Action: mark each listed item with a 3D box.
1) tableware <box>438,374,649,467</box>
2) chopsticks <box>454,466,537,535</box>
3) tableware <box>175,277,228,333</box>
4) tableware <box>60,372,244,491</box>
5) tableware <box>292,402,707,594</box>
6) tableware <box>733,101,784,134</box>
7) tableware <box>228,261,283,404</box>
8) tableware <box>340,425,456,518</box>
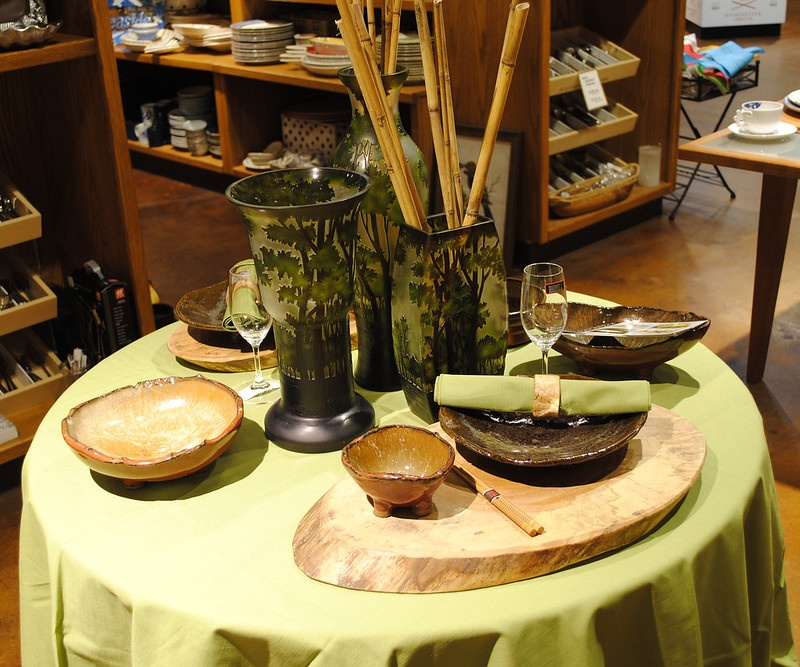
[{"bbox_3d":[0.193,0.126,0.898,0.185,0.055,0.164,0,25,7],"label":"tableware"},{"bbox_3d":[0.103,0.193,0.822,0.026,0.016,0.230,0,10,-21],"label":"chopsticks"},{"bbox_3d":[-0.401,-0.047,1.315,0.119,0.030,0.136,9,32,6],"label":"tableware"},{"bbox_3d":[-0.344,0.140,0.948,0.216,0.072,0.223,16,27,25],"label":"tableware"},{"bbox_3d":[0.159,0.220,0.789,0.392,0.041,0.214,-12,25,-20],"label":"tableware"},{"bbox_3d":[1.252,-0.757,2.288,0.162,0.084,0.128,16,34,43],"label":"tableware"},{"bbox_3d":[-0.243,-0.011,1.090,0.094,0.235,0.090,9,16,22],"label":"tableware"},{"bbox_3d":[0.001,0.168,0.799,0.121,0.064,0.119,-7,26,-10],"label":"tableware"}]
